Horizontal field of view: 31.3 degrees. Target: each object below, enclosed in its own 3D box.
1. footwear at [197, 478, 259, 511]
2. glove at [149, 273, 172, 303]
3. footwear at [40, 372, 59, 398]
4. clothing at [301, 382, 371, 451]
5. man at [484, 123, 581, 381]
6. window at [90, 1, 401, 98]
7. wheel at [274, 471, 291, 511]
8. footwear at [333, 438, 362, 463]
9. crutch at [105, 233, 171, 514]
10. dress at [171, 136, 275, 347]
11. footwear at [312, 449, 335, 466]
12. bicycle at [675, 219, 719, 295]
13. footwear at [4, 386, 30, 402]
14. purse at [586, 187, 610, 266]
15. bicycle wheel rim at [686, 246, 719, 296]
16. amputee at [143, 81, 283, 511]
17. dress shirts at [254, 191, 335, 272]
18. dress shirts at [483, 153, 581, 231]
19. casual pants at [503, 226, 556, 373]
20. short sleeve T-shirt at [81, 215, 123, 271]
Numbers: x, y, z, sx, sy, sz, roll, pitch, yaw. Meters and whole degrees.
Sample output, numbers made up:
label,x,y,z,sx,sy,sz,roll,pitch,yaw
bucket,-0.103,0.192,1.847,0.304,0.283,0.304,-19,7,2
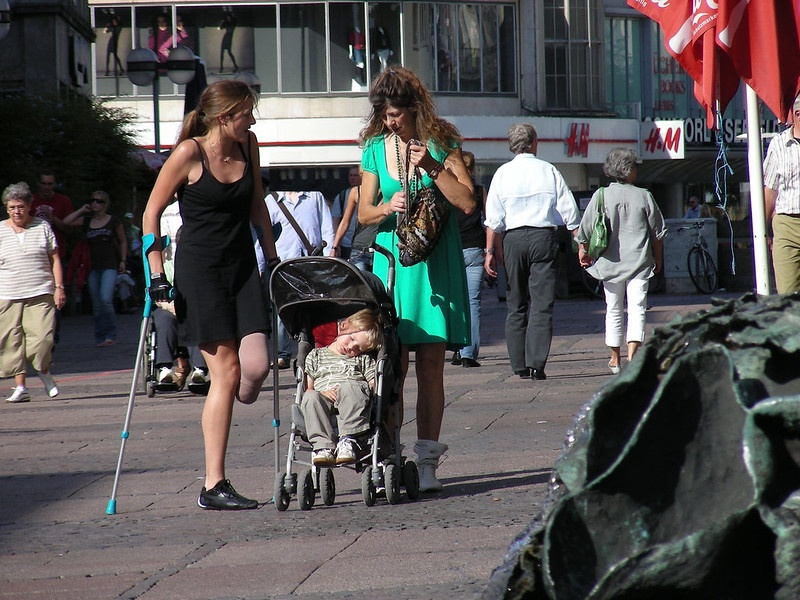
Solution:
label,x,y,z,sx,sy,sz,roll,pitch,yaw
footwear,-1.005,1.144,8.300,0.307,0.155,0.171,2,-3,9
glove,-1.389,-0.069,8.219,0.122,0.176,0.080,0,-19,-6
footwear,-3.256,0.803,13.123,0.066,0.216,0.091,-19,7,-9
clothing,-0.358,0.700,8.327,0.272,0.276,0.179,-16,-40,15
man,1.263,-0.459,13.090,0.862,2.279,0.687,1,0,18
window,-3.449,-6.086,33.700,7.066,2.461,1.599,-2,7,-1
wheel,-0.685,1.134,8.280,0.093,0.225,0.126,-3,7,-5
footwear,-0.305,0.889,8.259,0.105,0.118,0.264,-1,-6,0
crutch,-2.187,0.607,11.773,0.279,2.107,0.264,5,-12,23
dress,-1.065,-0.310,8.360,0.547,1.147,0.400,-3,7,-10
footwear,-0.437,0.935,8.265,0.152,0.110,0.118,-1,7,7
bicycle,5.110,-0.585,23.743,0.723,1.138,1.767,-6,-5,11
footwear,-3.448,0.850,12.773,0.209,0.132,0.295,-4,8,-16
purse,1.779,-0.630,12.553,0.184,0.762,0.609,3,-3,6
bicycle wheel rim,5.061,-0.516,23.376,0.526,0.814,0.412,-2,7,2
amputee,-1.081,-0.039,8.486,0.916,2.512,0.678,-4,5,-23
dress shirts,-0.910,-0.592,12.221,0.632,0.748,0.365,-10,-9,-14
dress shirts,1.213,-0.985,12.918,0.861,0.725,0.411,-1,7,7
casual pants,1.241,0.012,12.920,0.467,1.366,0.709,-4,7,-19
short sleeve T-shirt,-3.580,-0.663,16.940,0.406,0.765,0.313,-8,-16,-5
